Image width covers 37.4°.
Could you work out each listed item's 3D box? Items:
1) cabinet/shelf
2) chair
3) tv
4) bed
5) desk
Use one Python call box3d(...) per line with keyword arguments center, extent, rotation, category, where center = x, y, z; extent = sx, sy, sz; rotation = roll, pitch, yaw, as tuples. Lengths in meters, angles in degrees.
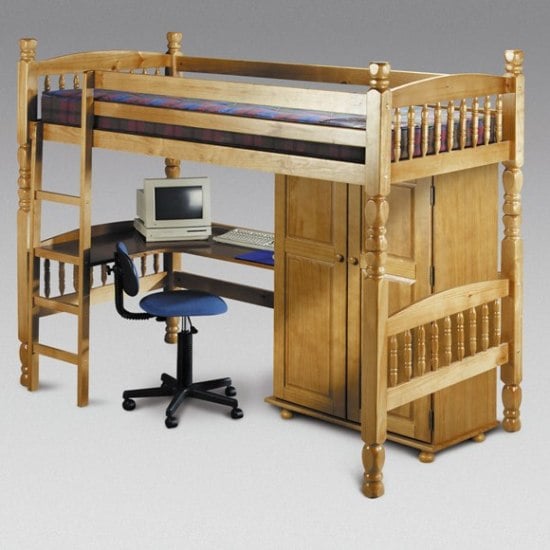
box3d(center=(0.612, 0.170, 4.146), extent=(0.751, 1.755, 1.317), rotation=(-7, 11, -43), category="cabinet/shelf")
box3d(center=(-0.578, 0.333, 4.858), extent=(0.743, 0.989, 0.719), rotation=(-1, 8, -8), category="chair")
box3d(center=(-0.666, -0.481, 5.421), extent=(0.505, 0.361, 0.369), rotation=(-3, 8, -22), category="tv")
box3d(center=(-0.124, -0.227, 4.768), extent=(2.694, 2.062, 1.802), rotation=(9, 15, 26), category="bed")
box3d(center=(-0.805, -0.054, 5.281), extent=(1.116, 0.893, 1.262), rotation=(10, 15, 36), category="desk")
